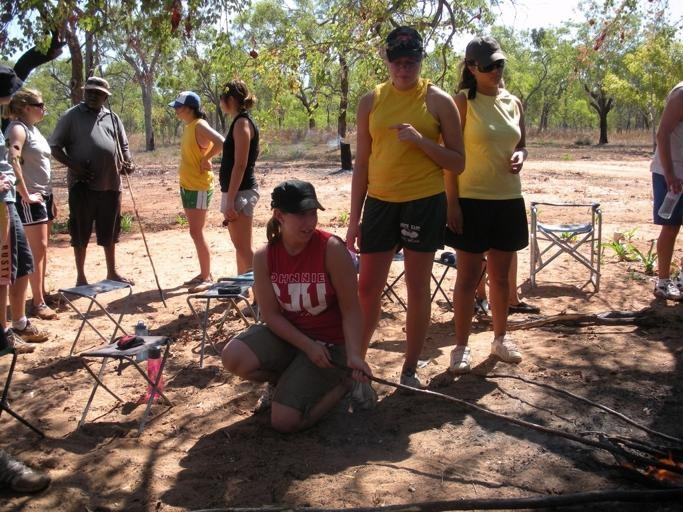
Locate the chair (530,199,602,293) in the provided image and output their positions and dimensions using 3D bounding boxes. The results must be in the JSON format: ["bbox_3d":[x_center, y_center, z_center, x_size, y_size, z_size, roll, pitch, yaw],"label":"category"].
[{"bbox_3d":[2.666,-0.217,7.289,0.841,1.064,0.880,6,15,32],"label":"chair"}]

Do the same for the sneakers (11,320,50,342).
[{"bbox_3d":[-2.998,0.723,5.891,0.321,0.157,0.166,6,8,-5],"label":"sneakers"}]

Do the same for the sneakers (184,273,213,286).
[{"bbox_3d":[-1.772,0.286,7.622,0.436,0.193,0.141,-2,-1,7],"label":"sneakers"}]

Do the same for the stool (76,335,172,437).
[{"bbox_3d":[-1.669,0.969,4.683,0.466,0.660,0.665,1,5,10],"label":"stool"}]

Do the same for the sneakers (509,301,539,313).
[{"bbox_3d":[1.854,0.531,6.280,0.328,0.123,0.124,-1,1,7],"label":"sneakers"}]

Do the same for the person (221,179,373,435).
[{"bbox_3d":[-0.252,0.380,4.228,1.181,1.619,1.139,10,13,44],"label":"person"}]

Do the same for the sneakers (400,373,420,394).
[{"bbox_3d":[0.506,0.948,4.435,0.115,0.062,0.156,5,15,-9],"label":"sneakers"}]

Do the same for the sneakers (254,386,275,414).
[{"bbox_3d":[-0.582,1.124,4.655,0.114,0.074,0.203,-18,35,43],"label":"sneakers"}]

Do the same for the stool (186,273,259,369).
[{"bbox_3d":[-1.090,0.535,5.595,0.461,0.459,0.650,2,8,2],"label":"stool"}]

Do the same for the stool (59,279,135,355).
[{"bbox_3d":[-2.356,0.566,5.823,0.427,0.587,0.425,-8,7,17],"label":"stool"}]

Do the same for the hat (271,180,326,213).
[{"bbox_3d":[-0.310,-0.434,4.269,0.334,0.234,0.445,-8,11,-41],"label":"hat"}]

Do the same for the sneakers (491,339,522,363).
[{"bbox_3d":[1.318,0.766,4.909,0.112,0.151,0.308,-10,3,-18],"label":"sneakers"}]

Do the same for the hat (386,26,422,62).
[{"bbox_3d":[0.426,-1.520,4.252,0.285,0.224,0.394,4,28,10],"label":"hat"}]

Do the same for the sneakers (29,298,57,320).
[{"bbox_3d":[-3.172,0.567,6.451,0.287,0.119,0.155,4,11,40],"label":"sneakers"}]

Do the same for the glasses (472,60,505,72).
[{"bbox_3d":[1.123,-1.455,4.606,0.221,0.088,0.120,0,12,5],"label":"glasses"}]

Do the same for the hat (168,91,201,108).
[{"bbox_3d":[-1.842,-1.860,7.099,0.308,0.172,0.218,9,15,-2],"label":"hat"}]
